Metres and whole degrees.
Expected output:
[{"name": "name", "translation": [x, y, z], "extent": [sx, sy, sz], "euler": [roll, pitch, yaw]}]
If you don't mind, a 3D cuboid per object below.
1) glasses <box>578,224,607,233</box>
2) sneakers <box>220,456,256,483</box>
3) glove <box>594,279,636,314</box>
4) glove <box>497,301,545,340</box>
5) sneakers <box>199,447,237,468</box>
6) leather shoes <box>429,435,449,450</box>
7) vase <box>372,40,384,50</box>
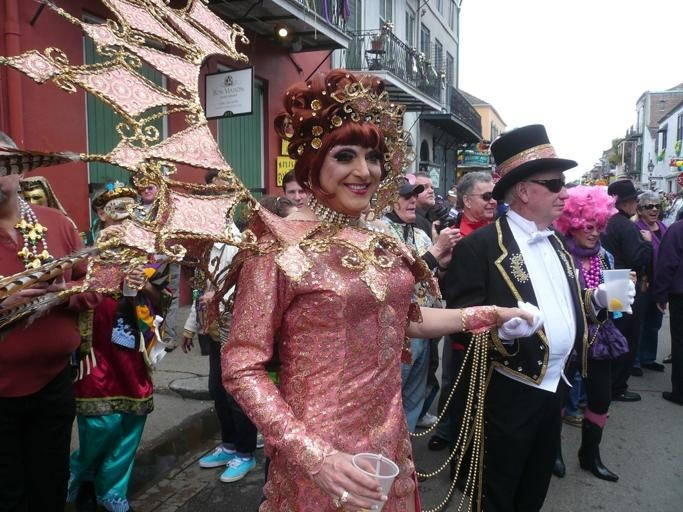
[{"name": "glasses", "translation": [1.940, -0.211, 4.715], "extent": [0.100, 0.053, 0.117], "euler": [0, -3, -16]}, {"name": "sneakers", "translation": [-0.799, 1.658, 4.702], "extent": [0.118, 0.111, 0.282], "euler": [0, -3, 26]}, {"name": "glove", "translation": [1.856, 0.289, 4.157], "extent": [0.232, 0.196, 0.258], "euler": [0, -7, 7]}, {"name": "glove", "translation": [0.933, 0.367, 3.245], "extent": [0.230, 0.095, 0.179], "euler": [-18, -12, 8]}, {"name": "sneakers", "translation": [-1.004, 1.651, 4.948], "extent": [0.335, 0.131, 0.131], "euler": [3, 6, -12]}, {"name": "leather shoes", "translation": [0.845, 1.638, 5.299], "extent": [0.173, 0.109, 0.087], "euler": [-1, 4, -6]}, {"name": "vase", "translation": [0.771, -4.460, 12.875], "extent": [0.264, 0.184, 0.262], "euler": [-2, -1, 5]}]
